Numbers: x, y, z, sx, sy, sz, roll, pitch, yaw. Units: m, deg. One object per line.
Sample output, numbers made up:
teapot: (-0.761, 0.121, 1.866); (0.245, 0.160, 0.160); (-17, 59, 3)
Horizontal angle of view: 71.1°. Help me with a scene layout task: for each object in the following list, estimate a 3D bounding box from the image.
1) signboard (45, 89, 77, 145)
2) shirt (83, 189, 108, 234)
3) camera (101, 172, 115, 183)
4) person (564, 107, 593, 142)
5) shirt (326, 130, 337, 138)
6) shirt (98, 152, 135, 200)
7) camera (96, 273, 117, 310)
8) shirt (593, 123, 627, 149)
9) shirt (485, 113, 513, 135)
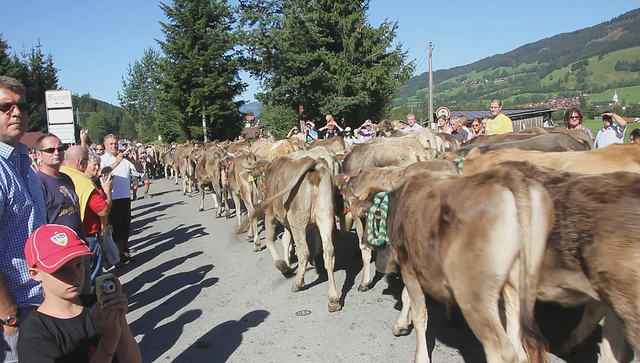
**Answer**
signboard: (-7.299, -1.828, 12.601); (0.734, 1.482, 1.311); (-11, 16, -29)
shirt: (-3.756, 0.489, 7.457); (0.525, 0.744, 0.653); (4, -1, -29)
camera: (-3.962, -0.085, 8.324); (0.070, 0.135, 0.221); (13, 43, 30)
person: (5.536, -1.145, 9.773); (0.406, 0.708, 1.349); (8, 0, 35)
shirt: (0.353, -1.675, 15.835); (0.404, 0.394, 0.176); (6, 13, 29)
shirt: (-4.573, -0.145, 10.146); (0.639, 0.950, 0.927); (-9, 15, -23)
camera: (-2.077, 1.048, 4.346); (0.192, 0.302, 0.190); (-11, 16, -29)
shirt: (6.716, -1.135, 10.388); (0.431, 0.226, 0.770); (0, -23, -22)
shirt: (4.170, -1.365, 10.510); (0.578, 0.420, 0.545); (4, 15, 25)
